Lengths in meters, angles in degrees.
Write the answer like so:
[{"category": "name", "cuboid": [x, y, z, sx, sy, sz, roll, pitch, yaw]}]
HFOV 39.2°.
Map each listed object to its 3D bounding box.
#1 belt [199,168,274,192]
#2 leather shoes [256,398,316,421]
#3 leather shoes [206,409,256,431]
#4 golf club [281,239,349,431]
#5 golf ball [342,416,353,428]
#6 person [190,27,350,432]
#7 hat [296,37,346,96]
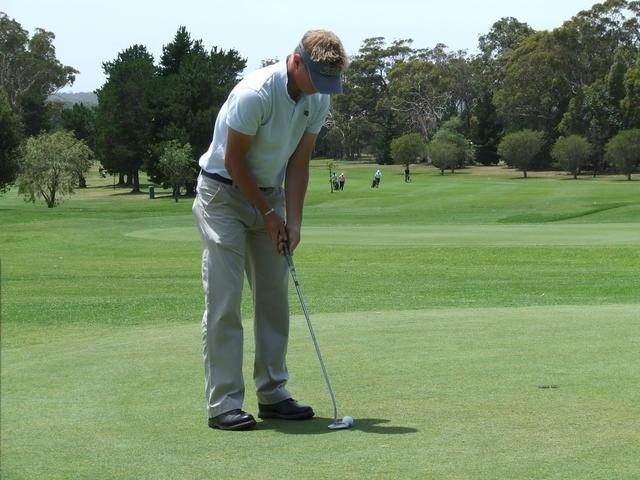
[{"category": "belt", "cuboid": [-0.690, -0.434, 6.493, 0.267, 0.061, 0.265, 17, -2, 27]}, {"category": "leather shoes", "cuboid": [-0.239, 1.180, 6.274, 0.423, 0.163, 0.155, -3, -6, 22]}, {"category": "leather shoes", "cuboid": [-0.579, 1.213, 6.022, 0.271, 0.109, 0.135, -3, 0, 16]}, {"category": "golf club", "cuboid": [-0.077, 0.567, 6.575, 0.356, 1.914, 0.179, -8, -41, -11]}, {"category": "golf ball", "cuboid": [0.186, 1.206, 5.915, 0.057, 0.068, 0.071, 5, 0, 8]}, {"category": "person", "cuboid": [-0.358, -0.105, 6.424, 1.061, 2.735, 0.953, -2, 3, -9]}, {"category": "hat", "cuboid": [0.000, -1.196, 6.287, 0.110, 0.388, 0.280, -37, -10, 37]}]
